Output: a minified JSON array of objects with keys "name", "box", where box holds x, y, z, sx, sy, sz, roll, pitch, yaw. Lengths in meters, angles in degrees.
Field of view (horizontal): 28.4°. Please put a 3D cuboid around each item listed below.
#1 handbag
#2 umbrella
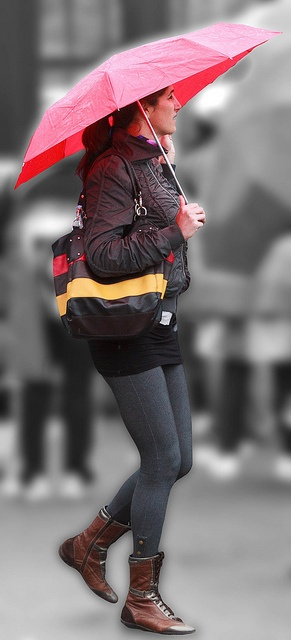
[{"name":"handbag","box":[-0.138,-0.151,1.773,0.435,0.398,0.303,9,23,19]},{"name":"umbrella","box":[-0.009,-0.714,1.908,0.868,0.509,0.674,-15,27,-33]}]
